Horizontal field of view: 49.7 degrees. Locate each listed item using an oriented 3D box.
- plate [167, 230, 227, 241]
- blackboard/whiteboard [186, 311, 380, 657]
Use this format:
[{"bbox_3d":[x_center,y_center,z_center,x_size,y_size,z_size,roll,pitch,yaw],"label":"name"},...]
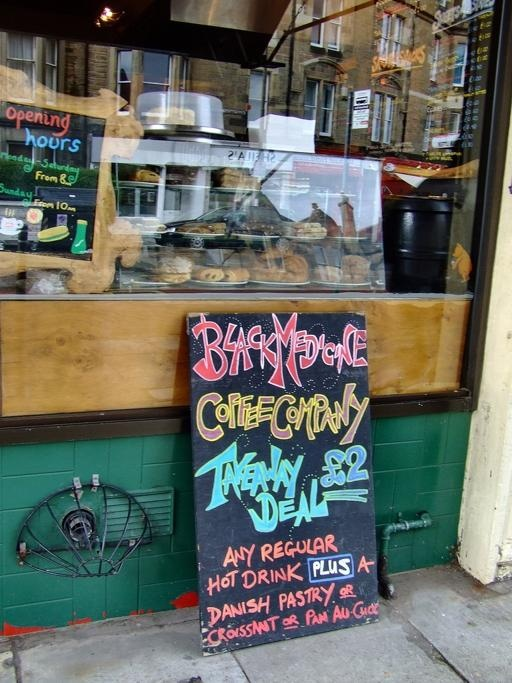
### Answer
[{"bbox_3d":[-0.277,-0.493,2.575,0.274,0.049,0.011,3,4,-27],"label":"plate"},{"bbox_3d":[0.135,0.557,2.402,0.926,1.383,0.274,3,4,-26],"label":"blackboard/whiteboard"}]
